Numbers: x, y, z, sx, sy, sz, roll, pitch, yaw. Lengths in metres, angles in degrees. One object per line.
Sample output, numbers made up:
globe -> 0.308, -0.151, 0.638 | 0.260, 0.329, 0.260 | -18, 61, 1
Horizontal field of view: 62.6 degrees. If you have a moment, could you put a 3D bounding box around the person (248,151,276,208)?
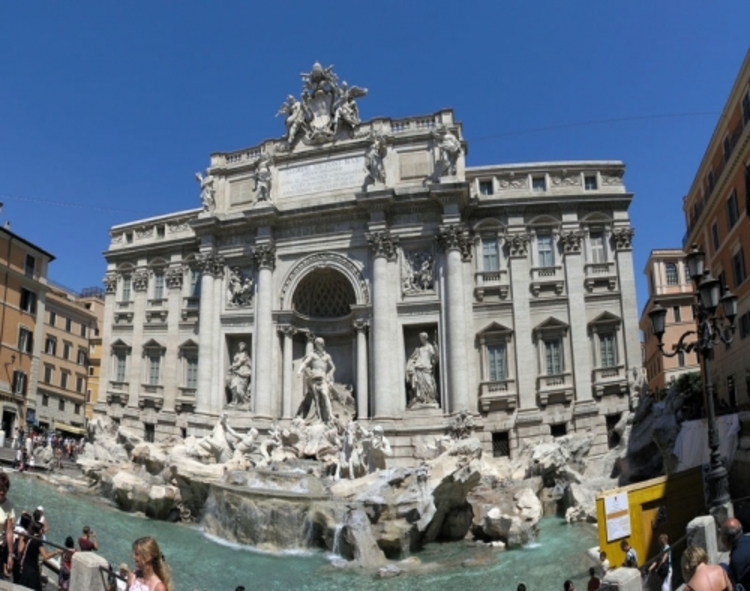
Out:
person -> -6.760, -7.165, 36.938 | 1.141, 3.811, 0.871 | -11, -19, 29

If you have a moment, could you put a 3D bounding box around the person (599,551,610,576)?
person -> 5.656, 6.581, 15.214 | 0.248, 0.514, 0.987 | -7, -19, 18

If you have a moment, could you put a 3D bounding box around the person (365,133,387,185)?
person -> 0.064, -7.447, 34.385 | 1.129, 2.986, 0.877 | 1, -17, -5

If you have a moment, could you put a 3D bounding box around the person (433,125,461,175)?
person -> 3.921, -7.768, 33.569 | 1.424, 2.959, 0.892 | -6, -18, 14
